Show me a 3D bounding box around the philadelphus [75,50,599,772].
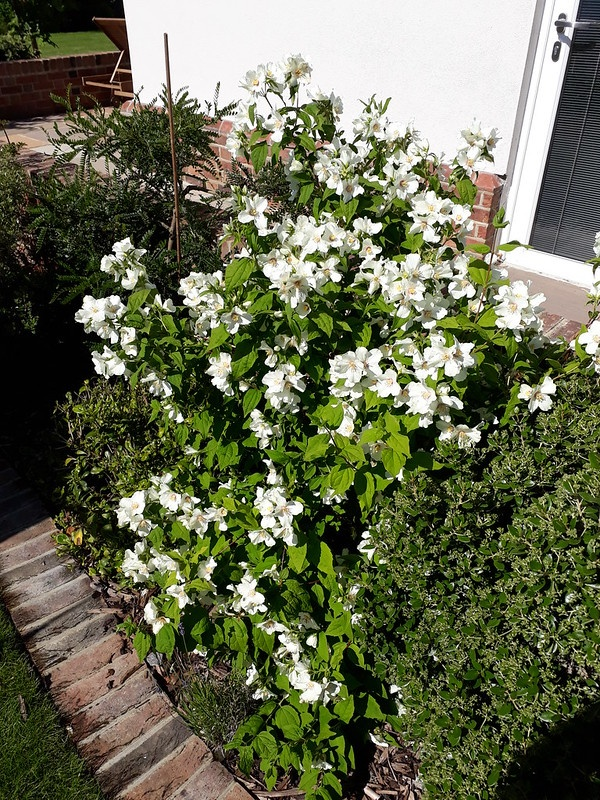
[{"bbox_3d":[0.024,0.067,1.875,1.263,1.950,1.337,-1,30,-10],"label":"philadelphus"}]
